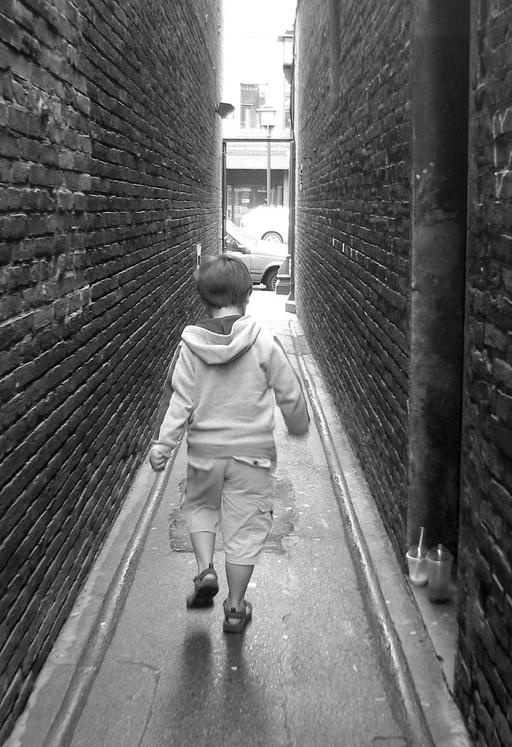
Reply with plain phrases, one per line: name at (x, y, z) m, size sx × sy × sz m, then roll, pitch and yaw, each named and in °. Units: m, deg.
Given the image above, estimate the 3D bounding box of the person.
person at (-0.105, 0.298, 1.947) m, size 0.638 × 1.571 × 0.365 m, roll 1°, pitch -2°, yaw -16°

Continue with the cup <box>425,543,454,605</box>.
cup at (0.828, 0.896, 2.115) m, size 0.108 × 0.256 × 0.270 m, roll 0°, pitch -3°, yaw 24°

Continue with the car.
car at (0.039, -5.134, 20.367) m, size 3.362 × 3.259 × 2.894 m, roll -4°, pitch 17°, yaw -1°
